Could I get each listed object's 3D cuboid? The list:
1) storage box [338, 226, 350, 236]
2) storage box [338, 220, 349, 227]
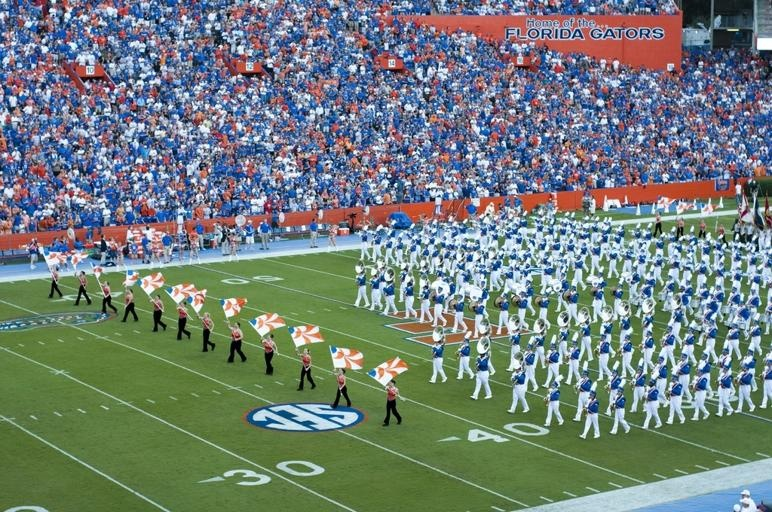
[{"bbox_3d":[-1.870,-1.083,60.032,0.387,0.273,0.380,-1,0,-36],"label":"storage box"},{"bbox_3d":[-1.880,-1.394,60.133,0.434,0.271,0.227,1,20,-2],"label":"storage box"}]
